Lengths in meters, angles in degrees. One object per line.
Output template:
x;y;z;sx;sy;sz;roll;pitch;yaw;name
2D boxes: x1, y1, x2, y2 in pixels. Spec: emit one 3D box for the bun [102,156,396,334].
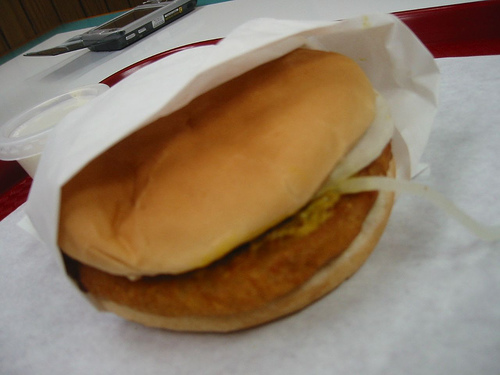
0.011;0.045;0.464;0.210;0.196;0.213;5;29;13;bun
